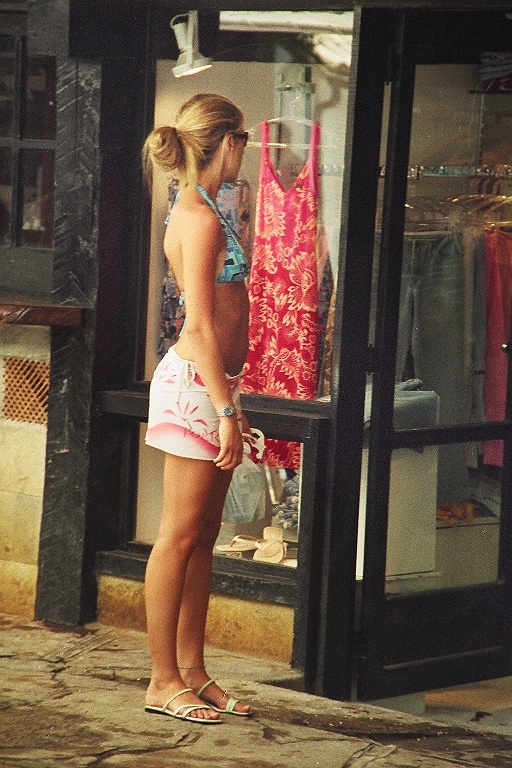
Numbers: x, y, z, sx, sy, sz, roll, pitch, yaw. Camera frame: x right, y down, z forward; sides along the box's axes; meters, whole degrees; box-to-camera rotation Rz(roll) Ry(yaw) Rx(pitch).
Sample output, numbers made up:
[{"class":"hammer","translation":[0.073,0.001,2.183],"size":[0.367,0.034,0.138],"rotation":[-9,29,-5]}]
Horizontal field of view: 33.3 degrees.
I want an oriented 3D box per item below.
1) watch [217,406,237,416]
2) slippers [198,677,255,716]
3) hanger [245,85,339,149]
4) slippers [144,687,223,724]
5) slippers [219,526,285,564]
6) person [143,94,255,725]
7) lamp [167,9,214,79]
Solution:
[{"class":"watch","translation":[-0.076,0.068,2.143],"size":[0.038,0.023,0.040],"rotation":[0,-5,-29]},{"class":"slippers","translation":[-0.091,0.888,2.378],"size":[0.196,0.070,0.068],"rotation":[25,6,-2]},{"class":"hanger","translation":[0.138,-0.948,3.028],"size":[0.440,0.244,0.026],"rotation":[6,12,34]},{"class":"slippers","translation":[-0.197,0.852,2.300],"size":[0.191,0.065,0.085],"rotation":[0,-4,21]},{"class":"slippers","translation":[-0.009,0.595,3.122],"size":[0.224,0.113,0.189],"rotation":[2,8,14]},{"class":"person","translation":[-0.130,0.067,2.408],"size":[0.386,1.647,0.487],"rotation":[2,2,11]},{"class":"lamp","translation":[-0.244,-1.205,3.034],"size":[0.139,0.200,0.138],"rotation":[-7,6,-3]}]
